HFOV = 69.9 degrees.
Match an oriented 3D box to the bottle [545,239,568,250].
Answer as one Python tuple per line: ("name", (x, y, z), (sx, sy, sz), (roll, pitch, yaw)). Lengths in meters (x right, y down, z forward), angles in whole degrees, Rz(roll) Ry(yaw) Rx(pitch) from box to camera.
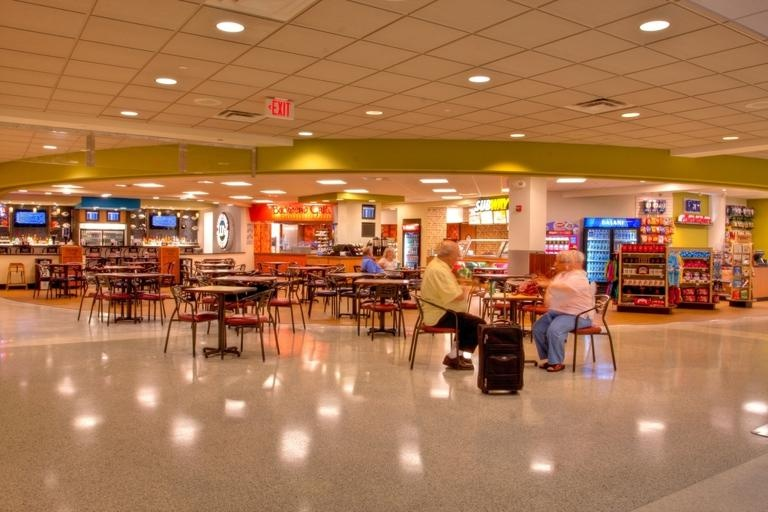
("bottle", (5.465, -0.383, 17.434), (0.575, 0.287, 0.238), (0, -2, 6))

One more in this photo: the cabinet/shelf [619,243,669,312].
("cabinet/shelf", (6.581, 0.546, 13.871), (1.226, 1.700, 0.564), (0, 3, 18))

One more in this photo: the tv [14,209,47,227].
("tv", (-14.907, -1.624, 22.996), (0.983, 0.522, 0.095), (1, -2, -33))

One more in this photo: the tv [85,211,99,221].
("tv", (-12.830, -1.788, 24.033), (0.586, 0.317, 0.057), (1, 4, -37))

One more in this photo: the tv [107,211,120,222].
("tv", (-12.252, -1.814, 24.774), (0.623, 0.409, 0.076), (1, -4, -36))

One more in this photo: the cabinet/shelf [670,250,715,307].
("cabinet/shelf", (8.226, 0.583, 14.662), (2.044, 1.633, 0.676), (-2, 3, -39))

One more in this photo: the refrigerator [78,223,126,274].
("refrigerator", (-12.485, -0.485, 24.368), (0.724, 1.547, 2.023), (28, 16, 39))

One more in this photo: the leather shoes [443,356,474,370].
("leather shoes", (1.068, 1.535, 7.882), (0.465, 0.141, 0.166), (0, 1, -5))

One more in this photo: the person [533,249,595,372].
("person", (2.590, 0.773, 7.953), (0.849, 1.692, 0.556), (0, 3, 12))

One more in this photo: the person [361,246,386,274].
("person", (-0.287, 0.078, 14.029), (0.698, 0.722, 0.986), (-3, 2, -24))

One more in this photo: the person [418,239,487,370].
("person", (0.927, 0.697, 7.745), (0.799, 1.816, 0.872), (-2, 3, -23))

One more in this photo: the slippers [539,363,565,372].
("slippers", (2.409, 1.581, 7.863), (0.364, 0.114, 0.123), (-2, -2, 24))

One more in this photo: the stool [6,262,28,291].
("stool", (-12.093, 0.598, 18.034), (0.552, 0.864, 0.458), (-1, 3, -13))
